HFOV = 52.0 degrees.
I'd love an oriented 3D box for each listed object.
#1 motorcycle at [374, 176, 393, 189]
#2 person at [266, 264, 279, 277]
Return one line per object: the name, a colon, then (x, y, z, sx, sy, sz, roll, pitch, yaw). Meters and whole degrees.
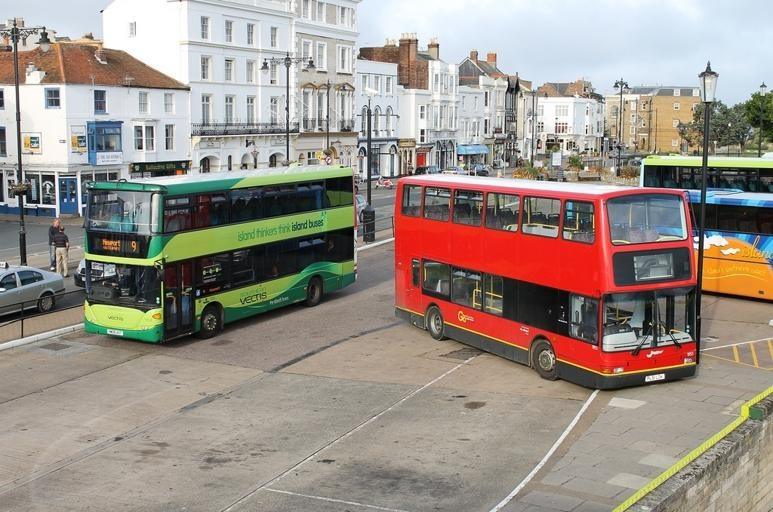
motorcycle: (-0.399, -7.468, 80.502, 1.561, 1.118, 2.414, -4, 5, -36)
person: (-4.252, 0.577, 29.685, 0.440, 0.439, 0.785, -3, 6, 5)
